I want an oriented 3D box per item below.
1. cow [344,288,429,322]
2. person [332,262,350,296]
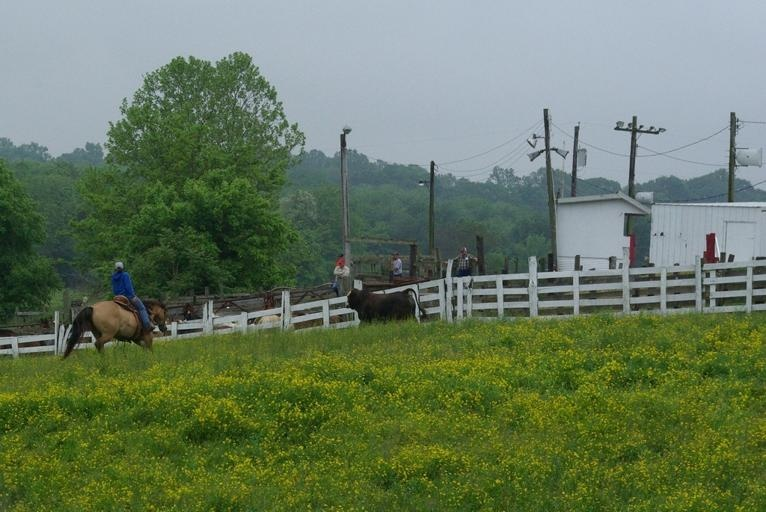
[{"bbox_3d":[0.107,2.411,62.754,3.487,1.620,0.995,-2,0,14],"label":"cow"},{"bbox_3d":[-2.165,1.127,66.428,0.841,1.741,1.164,-2,0,-3],"label":"person"}]
